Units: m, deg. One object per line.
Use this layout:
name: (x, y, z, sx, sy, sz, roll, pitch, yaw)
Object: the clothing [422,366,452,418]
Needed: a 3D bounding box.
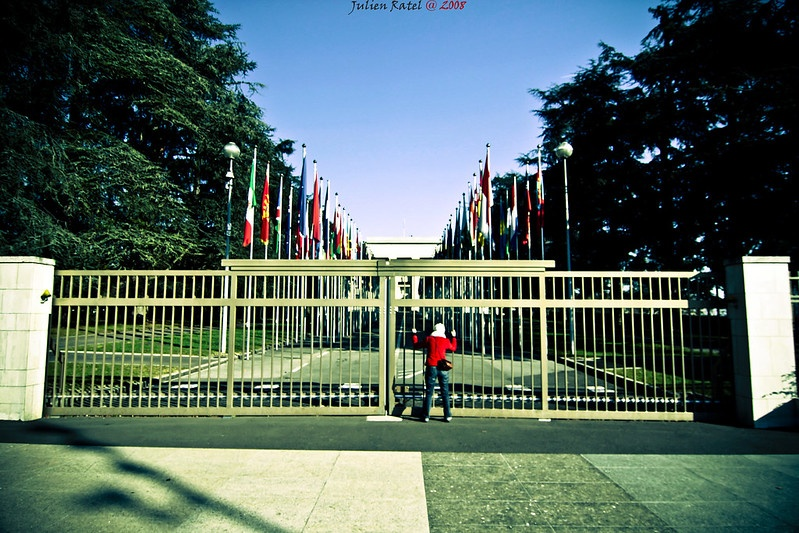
clothing: (1.169, 3.905, 22.242, 0.866, 1.684, 0.468, 1, 1, -4)
